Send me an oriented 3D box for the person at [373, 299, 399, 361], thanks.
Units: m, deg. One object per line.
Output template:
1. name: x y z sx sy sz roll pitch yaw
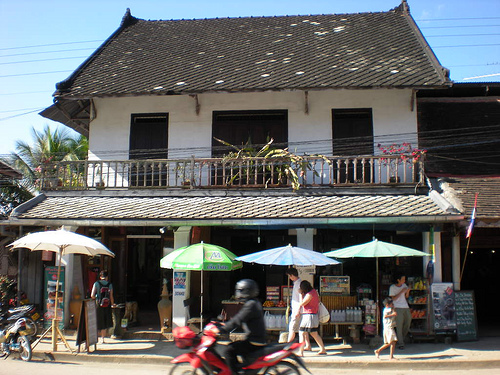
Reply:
1. person: 3.745 3.918 19.435 0.578 1.632 0.363 -3 -9 10

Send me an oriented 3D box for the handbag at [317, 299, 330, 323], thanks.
1. handbag: 2.088 3.596 20.162 0.358 0.567 0.614 -6 -18 8

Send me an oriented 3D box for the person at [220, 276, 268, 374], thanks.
1. person: -0.145 3.369 17.037 1.082 2.272 0.528 -1 -8 -3

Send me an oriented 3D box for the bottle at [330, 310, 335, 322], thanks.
1. bottle: 2.477 3.867 21.135 0.089 0.273 0.111 0 1 9

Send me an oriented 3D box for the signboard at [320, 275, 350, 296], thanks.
1. signboard: 2.593 2.966 21.572 0.980 0.780 0.498 0 -9 0

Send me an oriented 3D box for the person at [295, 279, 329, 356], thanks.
1. person: 1.678 3.677 19.857 0.738 2.074 0.520 6 -11 -42

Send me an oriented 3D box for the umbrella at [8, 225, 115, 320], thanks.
1. umbrella: -5.380 2.819 20.389 2.831 2.528 2.731 7 -20 -19

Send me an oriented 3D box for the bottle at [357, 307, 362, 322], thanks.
1. bottle: 3.309 3.830 21.233 0.125 0.432 0.302 -3 -9 10

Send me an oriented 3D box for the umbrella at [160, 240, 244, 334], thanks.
1. umbrella: -1.443 2.799 20.695 2.168 2.414 2.207 4 8 22

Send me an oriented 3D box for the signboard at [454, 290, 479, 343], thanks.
1. signboard: 6.414 3.827 20.916 0.740 1.503 0.164 2 -9 -23

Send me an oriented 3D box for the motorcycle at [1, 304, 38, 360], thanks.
1. motorcycle: -6.558 4.112 20.019 0.957 1.477 1.438 1 -9 -17

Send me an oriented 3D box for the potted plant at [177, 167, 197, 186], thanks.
1. potted plant: -2.091 -0.376 23.239 0.534 0.752 1.139 -1 -8 -6

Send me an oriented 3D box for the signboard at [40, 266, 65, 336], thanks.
1. signboard: -6.093 3.489 21.733 0.732 2.138 0.609 -2 -8 3
